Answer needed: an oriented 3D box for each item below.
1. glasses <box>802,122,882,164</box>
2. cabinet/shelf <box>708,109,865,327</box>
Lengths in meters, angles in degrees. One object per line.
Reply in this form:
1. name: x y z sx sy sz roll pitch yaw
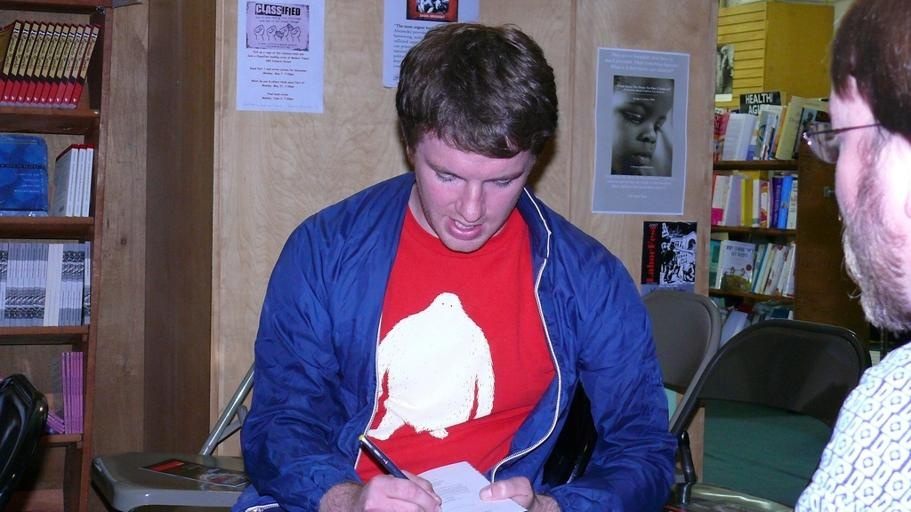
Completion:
1. glasses: 1.127 -0.332 1.971 0.127 0.046 0.122 -13 8 2
2. cabinet/shelf: 2.557 -0.287 5.301 0.747 2.026 2.154 0 -3 27
